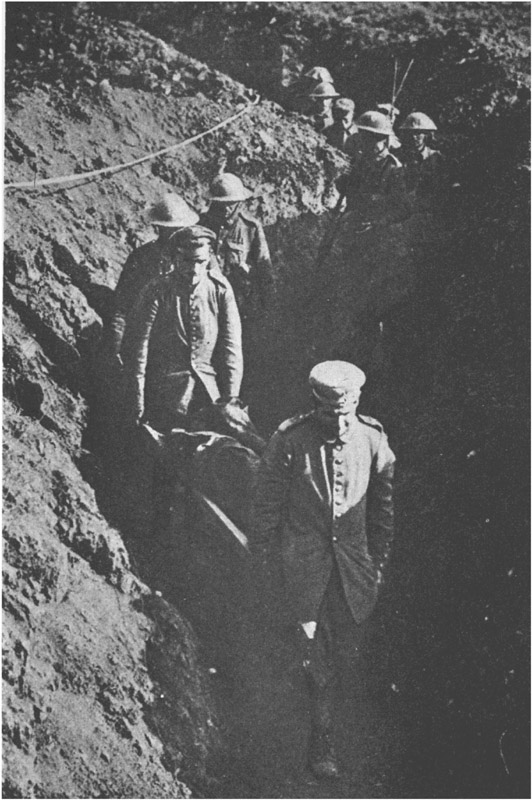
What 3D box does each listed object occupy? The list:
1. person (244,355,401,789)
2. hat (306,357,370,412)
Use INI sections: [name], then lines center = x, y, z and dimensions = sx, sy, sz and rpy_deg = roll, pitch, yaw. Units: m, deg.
[person]
center = 0.202, 0.591, 6.812
dimensions = 0.495, 1.317, 0.585
rpy_deg = 14, 25, 35
[hat]
center = 0.275, -0.086, 6.799
dimensions = 0.136, 0.197, 0.200
rpy_deg = -5, 12, -9
